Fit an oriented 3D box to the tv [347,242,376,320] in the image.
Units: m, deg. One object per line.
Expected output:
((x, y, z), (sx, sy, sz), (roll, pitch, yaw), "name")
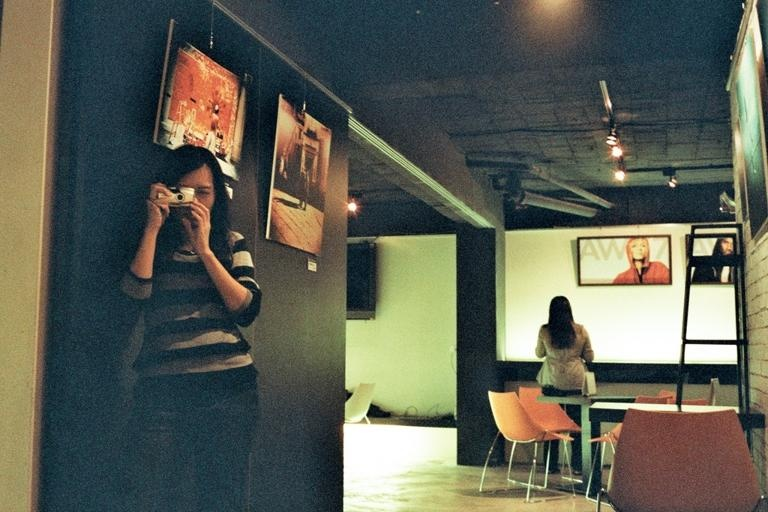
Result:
((-0.343, 0.359, 11.572), (0.307, 1.230, 0.960), (-4, 5, -40), "tv")

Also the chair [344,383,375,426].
((-0.375, 2.076, 9.949), (0.387, 0.567, 0.379), (-1, -4, 15), "chair")
